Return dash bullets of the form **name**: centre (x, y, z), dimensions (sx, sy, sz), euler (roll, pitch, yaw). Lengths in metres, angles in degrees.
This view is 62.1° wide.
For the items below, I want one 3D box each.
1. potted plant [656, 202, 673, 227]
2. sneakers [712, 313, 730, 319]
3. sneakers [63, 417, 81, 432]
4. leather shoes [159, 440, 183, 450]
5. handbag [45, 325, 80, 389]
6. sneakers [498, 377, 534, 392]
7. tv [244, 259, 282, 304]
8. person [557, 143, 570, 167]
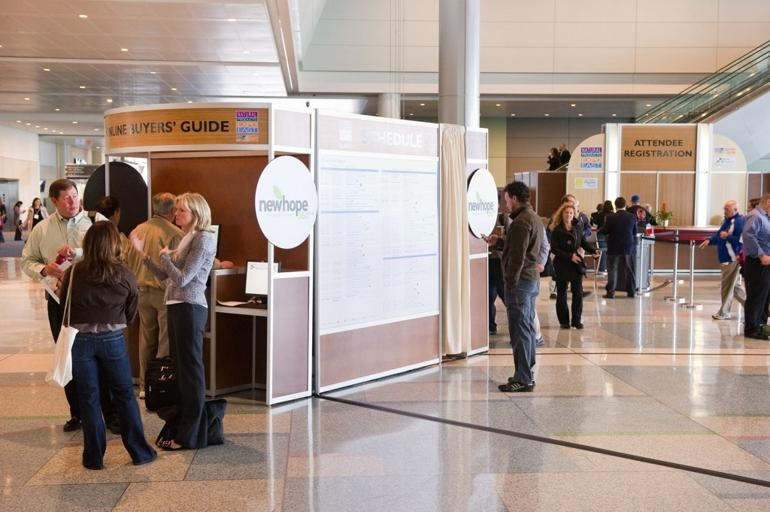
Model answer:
- **potted plant**: centre (8.161, -1.252, 18.737), dimensions (0.358, 0.608, 1.070), euler (4, 11, 22)
- **sneakers**: centre (5.988, 1.079, 11.430), dimensions (0.322, 0.121, 0.116), euler (3, 0, -3)
- **sneakers**: centre (-3.205, 1.732, 6.586), dimensions (0.234, 0.093, 0.111), euler (1, 6, -13)
- **leather shoes**: centre (-2.056, 1.826, 6.154), dimensions (0.175, 0.054, 0.105), euler (0, 3, -10)
- **handbag**: centre (-2.848, 0.877, 5.723), dimensions (0.240, 0.571, 0.240), euler (-3, 10, -20)
- **sneakers**: centre (1.531, 1.533, 7.707), dimensions (0.466, 0.175, 0.154), euler (3, 1, 1)
- **tv**: centre (-1.360, 0.283, 7.195), dimensions (0.522, 0.511, 0.184), euler (1, -2, 41)
- **person**: centre (6.097, -3.484, 21.910), dimensions (0.289, 0.742, 0.822), euler (2, 10, 13)
